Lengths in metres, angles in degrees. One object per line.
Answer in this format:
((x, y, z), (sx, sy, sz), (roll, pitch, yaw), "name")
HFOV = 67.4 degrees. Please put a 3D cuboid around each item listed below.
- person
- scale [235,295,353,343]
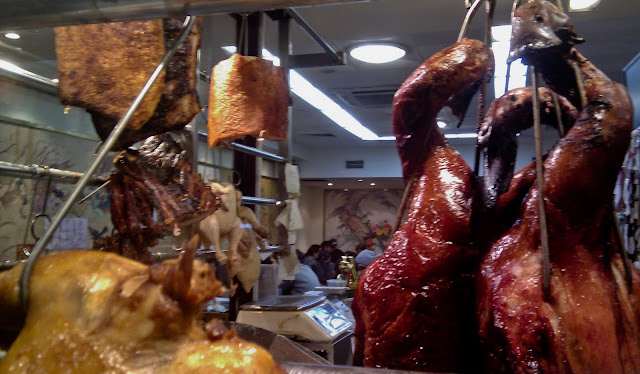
((-0.286, 0.700, 3.978), (0.922, 0.558, 0.873), (-1, -2, 2), "person")
((-0.146, 0.823, 3.114), (0.607, 0.153, 0.722), (2, -5, 12), "scale")
